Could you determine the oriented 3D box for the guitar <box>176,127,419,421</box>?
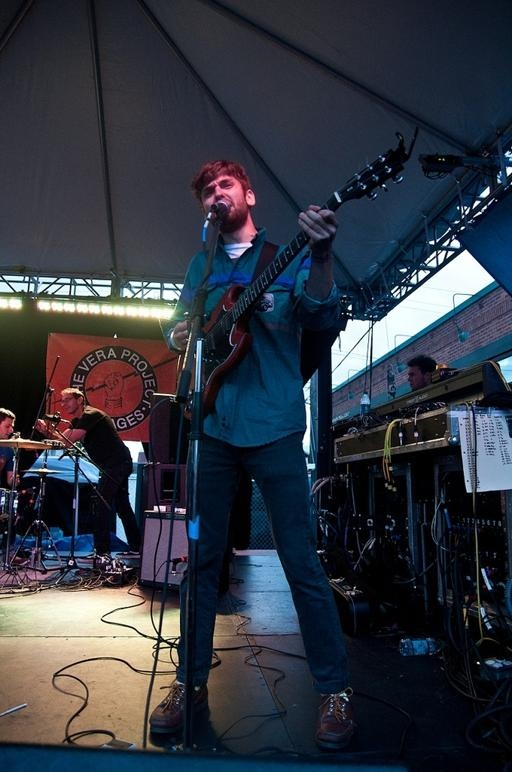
[{"bbox_3d":[-0.041,-0.187,1.694,0.119,0.452,1.133,8,-44,-37],"label":"guitar"}]

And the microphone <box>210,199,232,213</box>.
[{"bbox_3d":[-0.108,-0.558,1.792,0.050,0.032,0.048,-14,13,27],"label":"microphone"}]

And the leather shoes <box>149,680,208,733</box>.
[{"bbox_3d":[-0.217,0.863,1.560,0.110,0.120,0.250,-1,-13,9],"label":"leather shoes"}]

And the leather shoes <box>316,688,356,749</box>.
[{"bbox_3d":[0.206,0.851,1.484,0.090,0.113,0.149,-1,-13,10],"label":"leather shoes"}]
